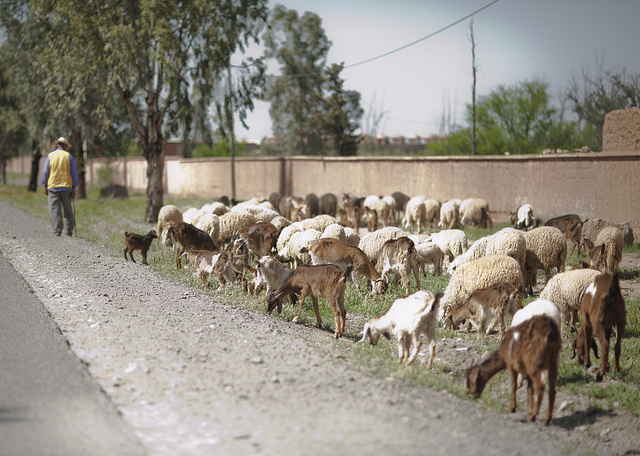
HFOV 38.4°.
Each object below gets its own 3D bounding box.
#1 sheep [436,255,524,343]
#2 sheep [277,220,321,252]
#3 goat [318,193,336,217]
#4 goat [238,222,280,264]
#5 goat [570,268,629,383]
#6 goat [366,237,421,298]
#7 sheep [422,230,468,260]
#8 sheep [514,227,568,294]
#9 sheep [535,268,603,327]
[{"bbox_3d":[4.127,1.897,23.452,2.574,2.285,1.091,-10,-22,43],"label":"sheep"},{"bbox_3d":[-0.619,0.191,27.361,1.269,1.076,0.698,-2,9,10],"label":"sheep"},{"bbox_3d":[0.330,-1.070,38.703,0.554,0.875,1.076,0,4,-21],"label":"goat"},{"bbox_3d":[-1.777,0.565,27.172,0.909,1.396,0.909,0,10,-36],"label":"goat"},{"bbox_3d":[6.607,2.277,21.779,1.147,2.551,1.168,3,4,14],"label":"goat"},{"bbox_3d":[2.078,1.074,25.566,1.072,1.881,1.115,0,3,-20],"label":"goat"},{"bbox_3d":[3.890,0.539,28.161,0.595,1.073,1.808,-13,6,-36],"label":"sheep"},{"bbox_3d":[5.905,0.687,26.038,0.749,2.040,2.553,0,4,-32],"label":"sheep"},{"bbox_3d":[6.310,1.778,22.464,1.159,1.542,1.742,-1,5,-28],"label":"sheep"}]
